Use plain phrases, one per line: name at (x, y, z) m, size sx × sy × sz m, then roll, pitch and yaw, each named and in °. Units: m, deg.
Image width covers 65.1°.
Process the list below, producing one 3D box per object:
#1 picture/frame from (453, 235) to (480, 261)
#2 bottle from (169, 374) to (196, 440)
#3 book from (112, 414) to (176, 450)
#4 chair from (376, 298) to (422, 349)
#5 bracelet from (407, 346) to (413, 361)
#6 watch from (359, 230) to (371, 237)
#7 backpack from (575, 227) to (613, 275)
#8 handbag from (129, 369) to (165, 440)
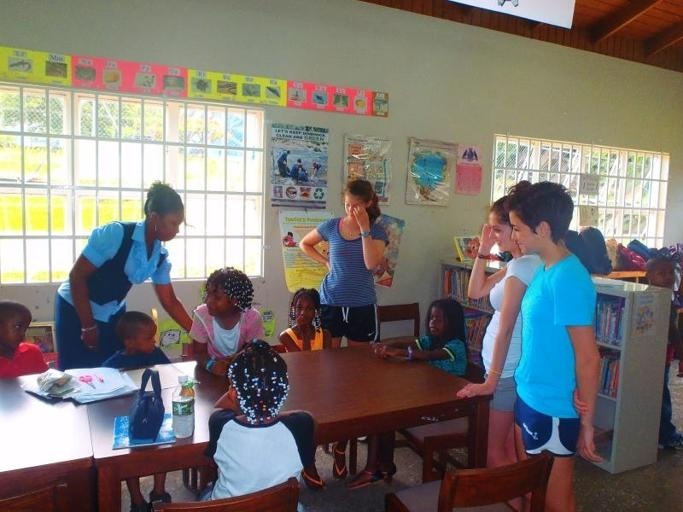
picture/frame at (1.161, -0.074, 4.942) m, size 0.226 × 0.218 × 0.053 m, roll 3°, pitch -17°, yaw -16°
bottle at (-0.684, 0.647, 2.315) m, size 0.108 × 0.276 × 0.105 m, roll 2°, pitch 7°, yaw 0°
book at (-0.866, 0.747, 2.319) m, size 0.268 × 0.020 × 0.259 m, roll -2°, pitch 20°, yaw -30°
chair at (0.470, 0.555, 4.442) m, size 0.325 × 0.594 × 0.351 m, roll -1°, pitch 0°, yaw -14°
bracelet at (0.401, 0.571, 3.151) m, size 0.019 × 0.054 × 0.042 m, roll -3°, pitch 6°, yaw -1°
watch at (0.169, -0.143, 3.598) m, size 0.056 × 0.040 × 0.054 m, roll -1°, pitch -8°, yaw -21°
backpack at (2.025, -0.002, 4.299) m, size 0.292 × 0.468 × 0.165 m, roll 1°, pitch -9°, yaw -15°
handbag at (-0.846, 0.653, 2.325) m, size 0.117 × 0.273 × 0.267 m, roll 3°, pitch 2°, yaw -17°
